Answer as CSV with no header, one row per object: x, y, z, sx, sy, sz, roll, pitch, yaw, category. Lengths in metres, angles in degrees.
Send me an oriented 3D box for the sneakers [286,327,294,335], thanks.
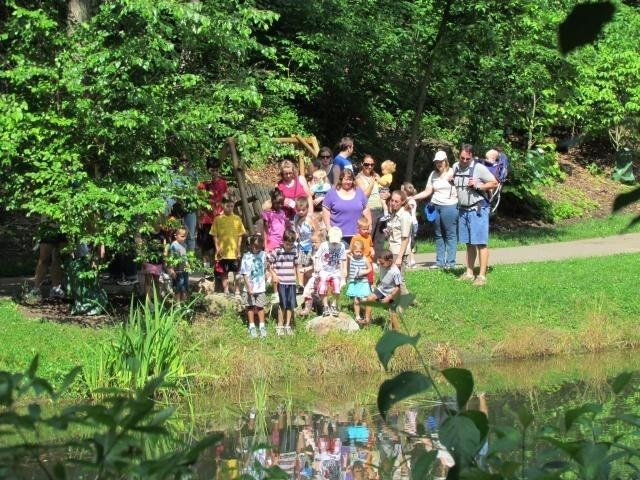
-0.392,1.140,10.661,0.092,0.089,0.246,-1,0,-2,sneakers

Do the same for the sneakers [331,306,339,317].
0.177,0.909,10.834,0.097,0.128,0.280,1,-5,-9,sneakers

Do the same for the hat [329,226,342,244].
0.181,-0.056,10.695,0.159,0.190,0.299,-1,0,-4,hat

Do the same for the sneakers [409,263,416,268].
1.528,0.435,14.254,0.051,0.054,0.119,0,-6,-3,sneakers

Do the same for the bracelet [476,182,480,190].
2.168,-0.739,11.865,0.064,0.091,0.025,8,2,0,bracelet

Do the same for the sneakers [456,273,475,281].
2.119,0.561,12.575,0.251,0.123,0.098,0,0,6,sneakers

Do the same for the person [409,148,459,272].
1.849,-0.470,13.550,0.769,1.935,0.655,-3,-8,23,person

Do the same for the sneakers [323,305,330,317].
0.074,0.907,10.852,0.113,0.146,0.323,1,1,-3,sneakers

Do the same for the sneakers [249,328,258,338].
-0.829,1.156,10.609,0.083,0.120,0.043,3,-4,-5,sneakers

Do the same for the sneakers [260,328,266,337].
-0.725,1.159,10.621,0.078,0.138,0.082,1,-8,-14,sneakers

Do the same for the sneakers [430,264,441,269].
1.877,0.440,13.930,0.071,0.062,0.143,-1,-8,24,sneakers

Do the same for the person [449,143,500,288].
2.182,-0.338,12.173,0.588,2.015,0.745,-1,1,8,person

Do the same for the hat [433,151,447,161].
1.869,-1.348,13.468,0.175,0.162,0.267,-4,-7,14,hat

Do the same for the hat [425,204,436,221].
1.787,-0.450,13.945,0.164,0.272,0.257,0,9,-3,hat
